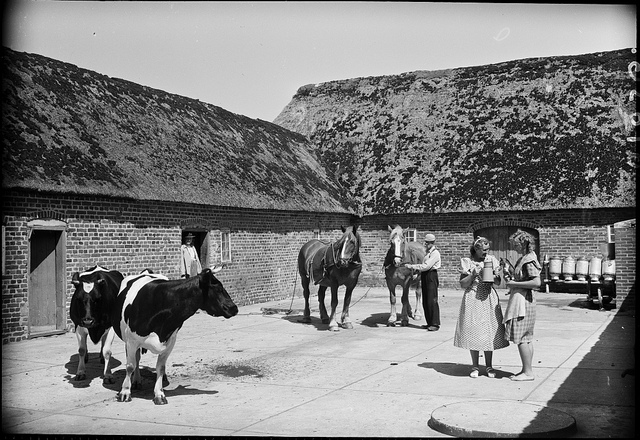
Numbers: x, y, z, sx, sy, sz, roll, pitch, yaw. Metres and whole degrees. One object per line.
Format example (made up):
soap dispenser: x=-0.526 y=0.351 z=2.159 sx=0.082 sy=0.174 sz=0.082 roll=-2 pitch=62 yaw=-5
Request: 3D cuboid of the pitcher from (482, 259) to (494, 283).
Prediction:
pitcher: x=3.389 y=1.033 z=15.546 sx=0.218 sy=0.467 sz=0.141 roll=1 pitch=5 yaw=18

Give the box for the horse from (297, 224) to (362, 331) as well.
horse: x=0.306 y=1.661 z=21.914 sx=1.195 sy=2.917 sz=3.942 roll=0 pitch=-3 yaw=-20

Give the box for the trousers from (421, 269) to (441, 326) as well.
trousers: x=2.938 y=2.066 z=20.631 sx=0.473 sy=1.581 sz=0.683 roll=0 pitch=4 yaw=9

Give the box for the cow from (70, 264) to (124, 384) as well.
cow: x=-4.755 y=2.194 z=16.682 sx=1.055 sy=2.301 sz=3.946 roll=1 pitch=0 yaw=-8

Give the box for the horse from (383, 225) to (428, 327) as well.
horse: x=2.458 y=1.640 z=22.208 sx=0.929 sy=2.726 sz=3.838 roll=1 pitch=-3 yaw=16

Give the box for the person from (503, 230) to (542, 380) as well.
person: x=4.148 y=1.743 z=15.856 sx=0.697 sy=3.014 sz=1.073 roll=1 pitch=4 yaw=16

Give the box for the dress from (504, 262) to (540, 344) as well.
dress: x=4.115 y=1.658 z=15.741 sx=0.713 sy=1.737 sz=0.845 roll=3 pitch=-6 yaw=5

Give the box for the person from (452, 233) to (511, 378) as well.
person: x=3.365 y=1.833 z=16.124 sx=1.067 sy=2.892 sz=1.254 roll=0 pitch=4 yaw=10

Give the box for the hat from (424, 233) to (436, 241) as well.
hat: x=3.206 y=0.509 z=22.522 sx=0.313 sy=0.177 sz=0.427 roll=1 pitch=-5 yaw=8

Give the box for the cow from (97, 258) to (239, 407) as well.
cow: x=-3.332 y=2.262 z=15.154 sx=3.996 sy=2.729 sz=1.113 roll=0 pitch=-3 yaw=42

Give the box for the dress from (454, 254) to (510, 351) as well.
dress: x=3.323 y=1.599 z=16.049 sx=0.935 sy=2.034 sz=0.845 roll=1 pitch=7 yaw=5
